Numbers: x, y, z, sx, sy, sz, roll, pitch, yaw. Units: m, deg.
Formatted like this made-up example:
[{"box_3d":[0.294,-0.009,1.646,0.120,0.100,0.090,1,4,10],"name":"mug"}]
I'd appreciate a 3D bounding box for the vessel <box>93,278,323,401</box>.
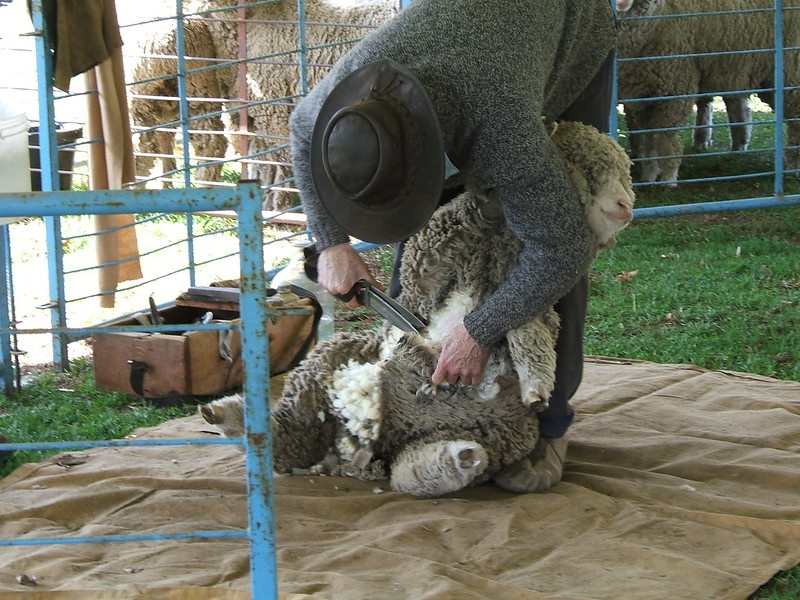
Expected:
[{"box_3d":[-1.208,0.304,5.297,0.681,0.249,1.054,4,10,27],"name":"vessel"}]
